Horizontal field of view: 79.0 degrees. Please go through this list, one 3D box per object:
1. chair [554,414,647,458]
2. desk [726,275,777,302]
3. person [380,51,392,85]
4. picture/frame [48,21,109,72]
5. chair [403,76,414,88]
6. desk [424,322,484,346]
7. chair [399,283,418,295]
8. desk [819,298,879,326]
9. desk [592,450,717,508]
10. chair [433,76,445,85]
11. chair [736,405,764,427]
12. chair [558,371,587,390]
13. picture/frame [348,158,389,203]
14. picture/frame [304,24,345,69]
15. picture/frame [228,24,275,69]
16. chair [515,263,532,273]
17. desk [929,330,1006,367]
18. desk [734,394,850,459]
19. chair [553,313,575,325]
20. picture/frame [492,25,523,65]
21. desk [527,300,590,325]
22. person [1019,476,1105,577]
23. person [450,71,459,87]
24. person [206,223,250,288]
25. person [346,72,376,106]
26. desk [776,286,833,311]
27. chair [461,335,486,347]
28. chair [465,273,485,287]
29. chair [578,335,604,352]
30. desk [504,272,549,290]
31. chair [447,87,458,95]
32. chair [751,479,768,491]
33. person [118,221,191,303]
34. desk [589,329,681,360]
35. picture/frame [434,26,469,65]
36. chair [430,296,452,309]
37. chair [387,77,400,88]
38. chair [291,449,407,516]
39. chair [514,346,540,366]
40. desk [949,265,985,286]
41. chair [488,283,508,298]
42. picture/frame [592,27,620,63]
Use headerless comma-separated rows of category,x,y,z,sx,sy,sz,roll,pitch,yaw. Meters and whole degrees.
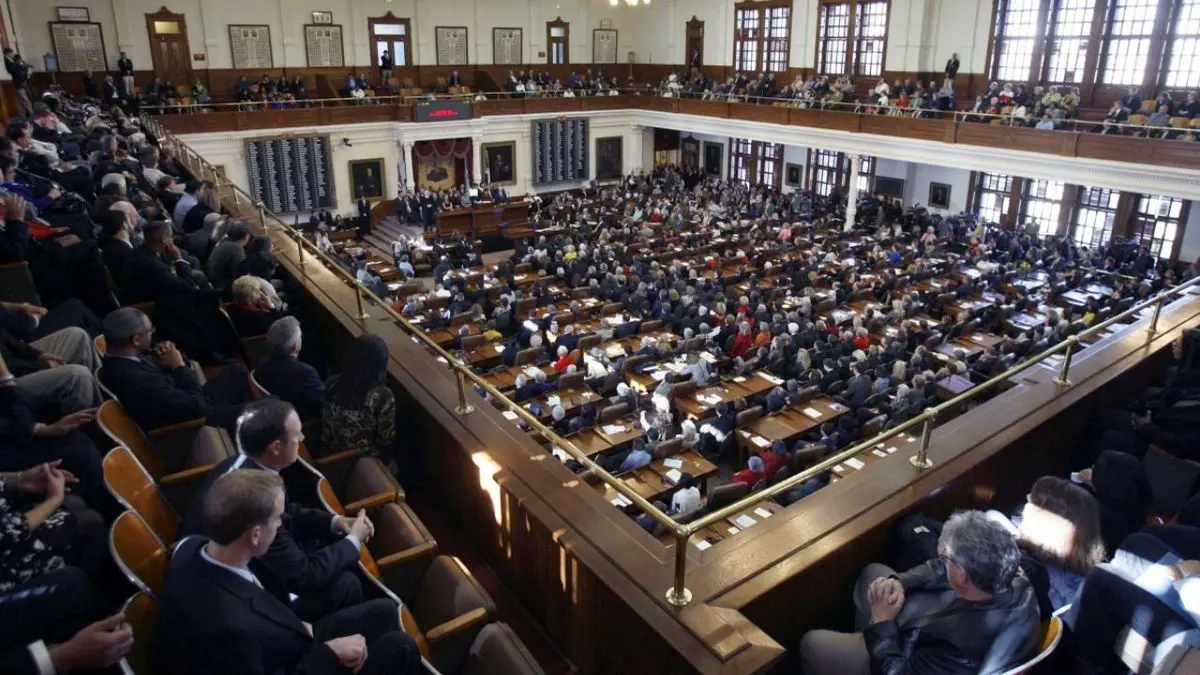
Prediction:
chair,0.113,1.691,12.382,1.054,0.285,0.470,-19,38,-25
desk,3.786,-1.208,18.221,0.654,0.577,0.346,-18,32,-27
person,-8.195,-10.286,27.819,0.403,1.216,0.456,-6,22,-15
picture/frame,-16.534,-9.200,22.860,0.188,1.893,1.834,14,21,39
chair,-7.515,-10.025,28.619,0.407,0.525,0.417,-20,38,-34
desk,-3.234,-0.094,16.168,1.115,0.254,0.463,-22,45,-32
chair,-4.924,-1.297,18.695,0.320,0.301,0.326,-6,39,-22
desk,5.897,-0.648,16.930,1.240,0.465,1.911,8,22,20
desk,0.803,2.070,10.626,1.432,0.381,0.493,-21,35,-32
chair,-6.440,-10.262,29.146,0.432,0.302,0.533,-5,21,-14
chair,2.677,1.369,12.826,0.441,0.412,0.337,-19,41,-6
chair,-0.527,0.830,13.819,0.543,0.362,0.294,-12,36,-20
picture/frame,-8.650,-5.907,26.981,1.469,1.604,0.166,-18,30,-39
picture/frame,-10.203,-10.755,26.704,1.612,1.583,0.167,-14,25,-42
picture/frame,-12.302,-10.233,25.429,0.139,1.204,1.378,12,35,39
chair,-2.079,-1.931,20.179,0.272,0.219,0.549,18,27,40
desk,7.820,0.172,15.321,1.733,0.579,0.553,-17,32,-23
desk,3.526,1.831,13.090,2.228,0.935,0.701,-16,24,-27
chair,-0.789,-0.423,16.691,0.453,0.307,0.240,-17,24,-38
picture/frame,-3.917,-12.285,30.378,1.525,1.302,0.105,-17,29,-25
desk,-0.884,-0.599,17.097,1.081,0.245,0.638,-17,32,-29
person,4.253,1.780,6.856,0.920,0.798,0.660,12,-7,-21
person,-5.818,-10.456,29.362,0.387,0.529,0.903,-4,21,-9
person,-5.136,-1.143,10.001,0.603,0.771,0.764,-9,23,-23
person,-8.890,-9.211,26.869,0.998,1.062,1.993,-7,22,-17
desk,5.034,-1.029,17.502,1.310,0.488,1.808,6,21,15
chair,-2.671,0.084,15.355,0.421,0.282,0.224,-11,52,-22
chair,-3.267,-1.482,19.123,0.459,0.308,0.335,-9,18,-43
chair,-0.200,0.101,15.422,0.527,0.349,0.284,-11,45,-19
desk,-1.931,-1.506,19.238,0.880,0.199,0.544,-14,27,-31
chair,-5.764,-9.725,28.682,0.352,0.252,0.347,0,24,-1
chair,2.450,2.247,11.037,0.179,0.204,0.236,-10,14,-27
person,-5.719,-0.927,9.246,0.622,1.004,0.713,26,34,14
desk,0.735,0.182,15.381,1.551,0.454,0.577,-18,36,-18
picture/frame,-6.019,-11.810,29.220,1.300,1.458,0.109,-35,54,-24
chair,-3.913,-0.850,17.866,0.270,0.215,0.272,16,29,19
chair,-7.995,-9.860,28.173,0.368,0.493,0.407,-22,50,-28
chair,-2.559,1.451,7.297,0.853,0.695,0.936,-22,-12,-27
chair,-1.458,0.374,15.053,0.343,0.607,0.347,-10,51,-22
desk,9.843,-1.662,19.312,0.925,0.639,0.832,2,-6,6
chair,-2.543,-1.166,18.368,0.406,0.378,0.425,-20,34,-38
picture/frame,0.292,-13.193,33.032,0.258,1.484,1.470,19,28,41
